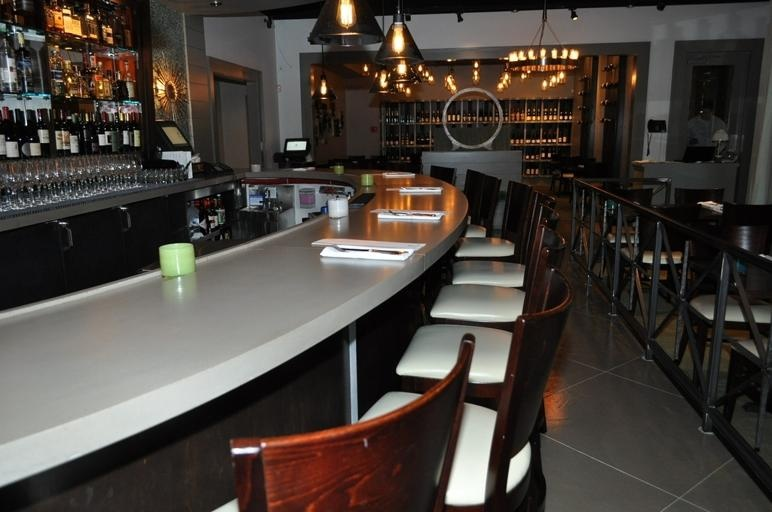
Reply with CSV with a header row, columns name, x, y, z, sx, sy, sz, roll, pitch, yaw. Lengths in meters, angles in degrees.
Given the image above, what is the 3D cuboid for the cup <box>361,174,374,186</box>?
name,x,y,z,sx,sy,sz,roll,pitch,yaw
cup,-0.170,-0.676,4.712,0.104,0.080,0.107,0,16,0

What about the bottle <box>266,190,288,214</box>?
name,x,y,z,sx,sy,sz,roll,pitch,yaw
bottle,-1.277,-0.631,6.144,0.301,0.301,0.185,3,14,5

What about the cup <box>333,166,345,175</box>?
name,x,y,z,sx,sy,sz,roll,pitch,yaw
cup,-0.488,-0.902,5.493,0.111,0.114,0.113,1,12,0

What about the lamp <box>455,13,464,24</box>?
name,x,y,z,sx,sy,sz,roll,pitch,yaw
lamp,1.197,-3.937,8.778,0.119,0.149,0.212,5,17,18

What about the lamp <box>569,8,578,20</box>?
name,x,y,z,sx,sy,sz,roll,pitch,yaw
lamp,2.961,-3.841,8.410,0.114,0.177,0.495,5,17,18

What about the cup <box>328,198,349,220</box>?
name,x,y,z,sx,sy,sz,roll,pitch,yaw
cup,-0.300,-0.283,3.220,0.118,0.119,0.125,1,25,-1

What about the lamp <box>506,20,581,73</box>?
name,x,y,z,sx,sy,sz,roll,pitch,yaw
lamp,2.476,-3.340,8.396,0.778,0.921,0.776,-15,26,-30

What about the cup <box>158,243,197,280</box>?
name,x,y,z,sx,sy,sz,roll,pitch,yaw
cup,-0.860,0.008,2.196,0.134,0.139,0.135,3,16,-1

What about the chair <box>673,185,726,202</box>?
name,x,y,z,sx,sy,sz,roll,pitch,yaw
chair,3.444,-0.658,5.907,0.542,0.157,0.272,-5,17,-15

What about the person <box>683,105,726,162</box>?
name,x,y,z,sx,sy,sz,roll,pitch,yaw
person,5.323,-1.979,8.958,0.528,1.207,0.307,4,51,32

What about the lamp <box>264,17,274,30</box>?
name,x,y,z,sx,sy,sz,roll,pitch,yaw
lamp,-1.969,-3.897,8.893,0.110,0.169,0.273,-1,16,-2
